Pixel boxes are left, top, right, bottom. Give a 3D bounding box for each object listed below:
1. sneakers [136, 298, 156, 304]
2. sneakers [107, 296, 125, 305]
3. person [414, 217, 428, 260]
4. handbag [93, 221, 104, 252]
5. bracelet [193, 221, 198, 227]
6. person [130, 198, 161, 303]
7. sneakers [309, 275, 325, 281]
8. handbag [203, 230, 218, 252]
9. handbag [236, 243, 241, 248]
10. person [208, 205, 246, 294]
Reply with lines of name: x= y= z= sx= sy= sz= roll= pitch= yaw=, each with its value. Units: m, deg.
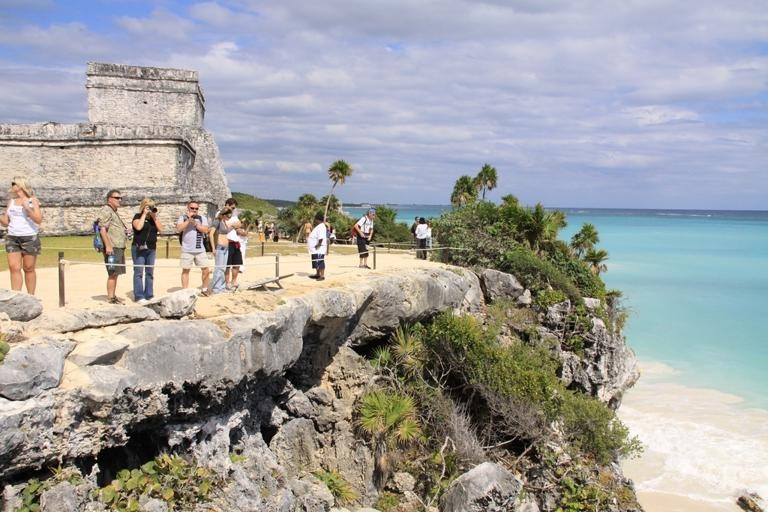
sneakers: x=-7.208 y=1.367 z=17.731 sx=0.486 sy=0.181 sz=0.273 roll=0 pitch=4 yaw=35
sneakers: x=-8.172 y=1.420 z=17.915 sx=0.635 sy=0.280 sz=0.299 roll=-1 pitch=15 yaw=-13
person: x=1.931 y=-0.887 z=30.557 sx=0.681 sy=2.140 sz=1.441 roll=2 pitch=12 yaw=3
handbag: x=-8.484 y=-0.589 z=17.374 sx=0.221 sy=1.042 sz=0.990 roll=-5 pitch=14 yaw=-28
bracelet: x=-5.993 y=-0.995 z=18.548 sx=0.135 sy=0.188 sz=0.063 roll=-1 pitch=12 yaw=-14
person: x=-7.281 y=-0.142 z=17.926 sx=0.837 sy=3.234 sz=1.130 roll=-3 pitch=13 yaw=-22
sneakers: x=-2.615 y=0.834 z=22.457 sx=0.602 sy=0.264 sz=0.223 roll=9 pitch=2 yaw=33
handbag: x=-5.909 y=-0.534 z=19.935 sx=0.367 sy=1.150 sz=0.417 roll=-3 pitch=14 yaw=-9
handbag: x=-4.846 y=-0.330 z=19.471 sx=0.079 sy=0.114 sz=0.104 roll=-3 pitch=-6 yaw=-39
person: x=-5.194 y=-0.334 z=19.061 sx=0.742 sy=2.865 sz=1.457 roll=4 pitch=12 yaw=11
